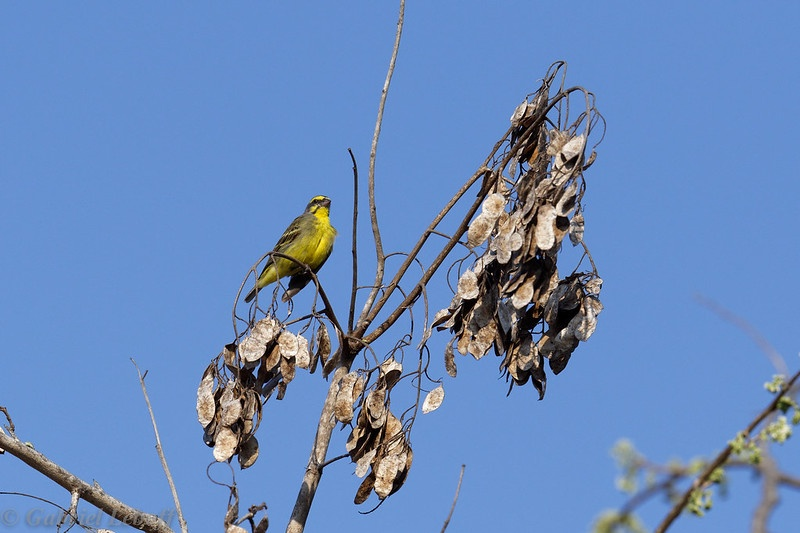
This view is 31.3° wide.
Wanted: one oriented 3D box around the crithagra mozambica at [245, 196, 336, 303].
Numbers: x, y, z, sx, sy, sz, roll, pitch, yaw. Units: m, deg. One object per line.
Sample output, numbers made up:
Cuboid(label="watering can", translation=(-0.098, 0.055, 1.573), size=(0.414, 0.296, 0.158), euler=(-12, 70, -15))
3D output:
Cuboid(label="crithagra mozambica", translation=(-1.158, -0.161, 15.171), size=(1.278, 0.830, 0.457), euler=(-34, -38, 27))
